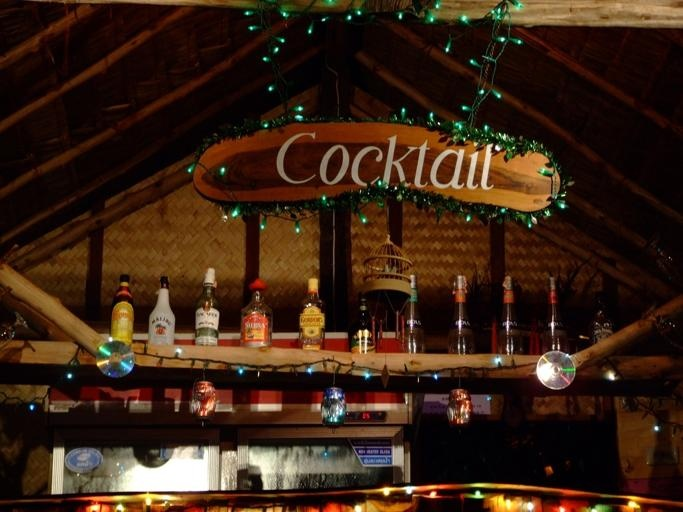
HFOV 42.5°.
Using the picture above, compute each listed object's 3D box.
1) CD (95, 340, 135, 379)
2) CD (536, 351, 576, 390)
[{"bbox_3d":[-1.511,0.690,5.904,0.261,0.266,0.189,-11,20,-24],"label":"CD"},{"bbox_3d":[1.484,0.790,6.119,0.238,0.274,0.060,1,-7,3],"label":"CD"}]
